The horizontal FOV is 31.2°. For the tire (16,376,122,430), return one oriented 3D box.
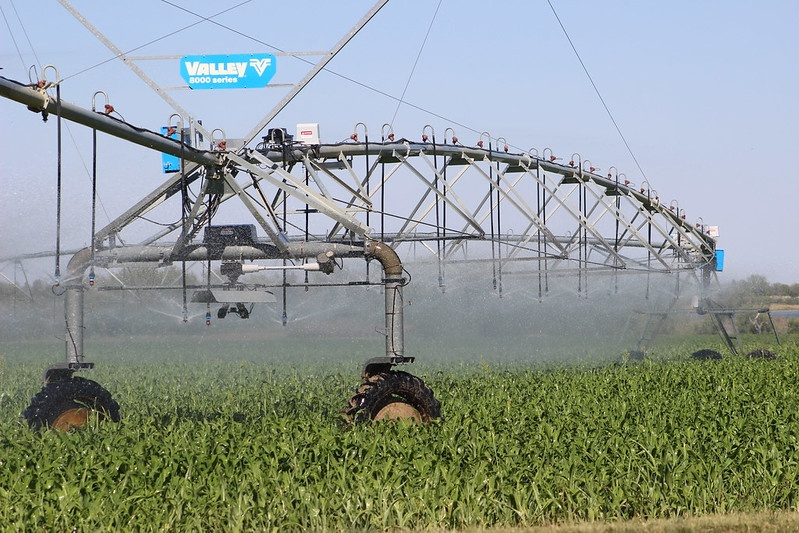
[{"bbox_3d":[-10.075,4.214,43.729,2.686,1.599,0.458,0,0,-16],"label":"tire"}]

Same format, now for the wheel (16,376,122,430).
[{"bbox_3d":[-10.090,4.214,43.732,2.712,1.599,0.523,0,0,-14],"label":"wheel"}]

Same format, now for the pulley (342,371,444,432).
[{"bbox_3d":[-0.203,3.998,43.624,2.770,1.602,0.447,0,0,-15],"label":"pulley"}]

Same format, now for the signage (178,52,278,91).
[{"bbox_3d":[-5.386,-6.151,45.011,2.901,1.063,0.150,0,0,2],"label":"signage"}]
